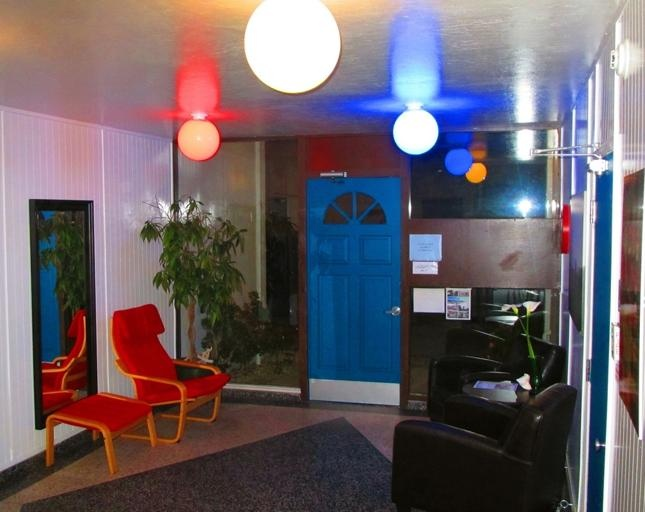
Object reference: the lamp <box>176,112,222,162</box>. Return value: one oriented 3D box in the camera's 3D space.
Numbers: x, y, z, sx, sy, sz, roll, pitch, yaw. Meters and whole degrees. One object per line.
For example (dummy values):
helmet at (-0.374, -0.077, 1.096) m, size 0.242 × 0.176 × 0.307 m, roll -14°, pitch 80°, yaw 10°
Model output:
lamp at (-1.077, -1.045, 4.991) m, size 0.351 × 0.436 × 0.359 m, roll 18°, pitch 23°, yaw 30°

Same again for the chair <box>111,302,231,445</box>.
chair at (-1.516, 1.165, 5.811) m, size 0.965 × 1.271 × 0.815 m, roll 0°, pitch 3°, yaw 16°

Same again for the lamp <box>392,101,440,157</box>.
lamp at (0.722, -0.985, 4.627) m, size 0.392 × 0.495 × 0.407 m, roll -1°, pitch 6°, yaw -1°

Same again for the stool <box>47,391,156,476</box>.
stool at (-1.972, 1.544, 5.100) m, size 0.840 × 0.423 × 0.849 m, roll 6°, pitch 7°, yaw 35°
